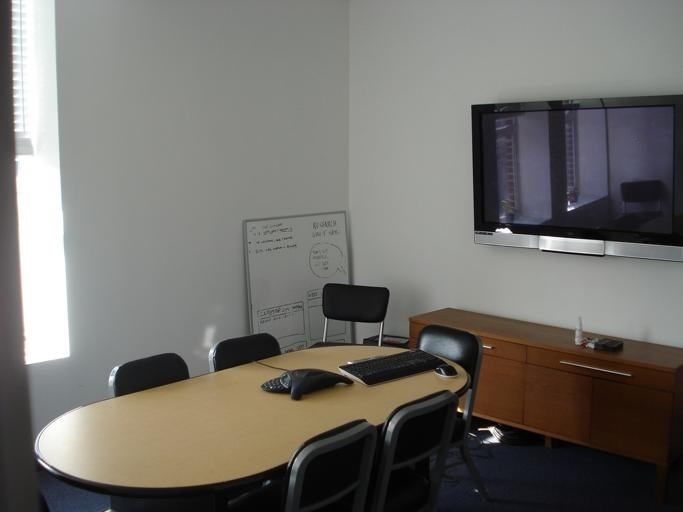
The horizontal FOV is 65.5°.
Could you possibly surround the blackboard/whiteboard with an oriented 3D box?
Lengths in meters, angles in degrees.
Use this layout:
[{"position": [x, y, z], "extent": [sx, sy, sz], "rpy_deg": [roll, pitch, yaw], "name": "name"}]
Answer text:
[{"position": [-0.424, 0.228, 4.722], "extent": [1.200, 1.589, 0.061], "rpy_deg": [-8, 8, -37], "name": "blackboard/whiteboard"}]
